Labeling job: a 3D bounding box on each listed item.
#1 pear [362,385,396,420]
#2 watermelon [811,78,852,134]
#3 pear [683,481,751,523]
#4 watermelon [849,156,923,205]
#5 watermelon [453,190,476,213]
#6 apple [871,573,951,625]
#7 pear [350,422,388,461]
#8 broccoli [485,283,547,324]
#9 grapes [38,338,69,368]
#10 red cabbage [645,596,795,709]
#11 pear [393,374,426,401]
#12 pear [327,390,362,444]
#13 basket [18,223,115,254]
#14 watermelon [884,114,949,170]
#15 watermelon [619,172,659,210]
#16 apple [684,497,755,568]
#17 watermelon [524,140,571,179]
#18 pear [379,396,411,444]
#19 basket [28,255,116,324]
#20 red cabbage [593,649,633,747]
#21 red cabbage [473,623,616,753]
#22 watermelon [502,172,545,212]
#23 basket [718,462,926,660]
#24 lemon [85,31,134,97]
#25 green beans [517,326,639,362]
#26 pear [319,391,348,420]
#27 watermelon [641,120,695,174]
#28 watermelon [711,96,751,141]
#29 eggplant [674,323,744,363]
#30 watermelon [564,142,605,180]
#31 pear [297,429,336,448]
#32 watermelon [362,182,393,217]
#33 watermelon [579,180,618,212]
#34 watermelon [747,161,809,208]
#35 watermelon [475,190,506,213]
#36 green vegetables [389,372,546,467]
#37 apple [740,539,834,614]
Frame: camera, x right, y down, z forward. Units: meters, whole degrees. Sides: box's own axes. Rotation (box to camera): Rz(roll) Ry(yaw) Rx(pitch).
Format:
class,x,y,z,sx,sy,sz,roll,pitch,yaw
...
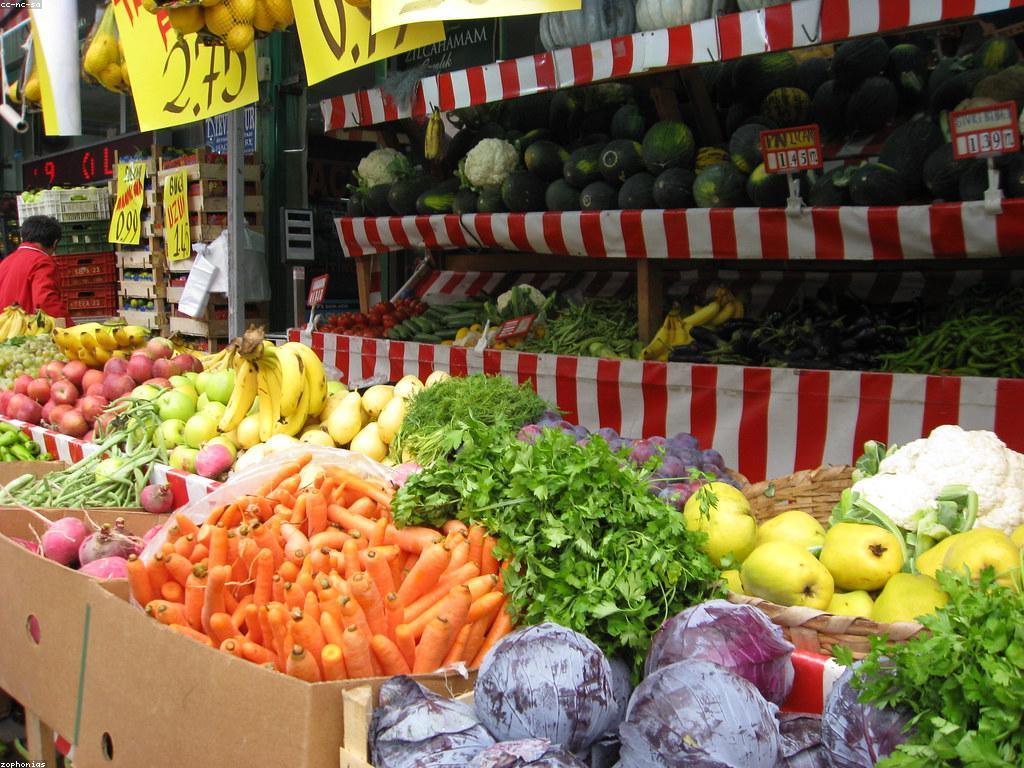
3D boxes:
class,x,y,z,sx,sy,sz,roll,pitch,yaw
pear,-0.625,0.085,4.000,0.092,0.108,0.156,-9,8,15
watermelon,1.795,-1.589,4.863,0.250,0.278,0.283,12,32,24
pear,0.637,0.354,2.629,0.150,0.150,0.130,6,14,15
watermelon,1.787,-0.932,4.095,0.318,0.209,0.186,-1,1,-32
watermelon,-0.318,-1.174,5.568,0.108,0.130,0.163,-3,36,34
apple,1.087,0.594,2.305,0.176,0.118,0.213,-3,4,0
pear,-0.626,0.272,3.853,0.135,0.235,0.154,11,-10,18
broccoli,0.028,-0.532,5.816,0.295,0.114,0.316,-36,33,12
grapes,-2.896,-0.189,5.371,0.096,0.083,0.142,10,33,-13
red cabbage,0.556,0.714,2.251,0.331,0.208,0.210,-10,16,-40
pear,-0.478,0.015,3.938,0.099,0.070,0.113,2,6,11
pear,-0.768,0.167,4.023,0.111,0.265,0.122,18,-19,4
basket,-4.425,-1.451,8.495,0.546,0.425,0.599,-2,6,-20
watermelon,1.952,-1.142,4.181,0.299,0.190,0.194,-36,-9,-17
watermelon,0.681,-1.041,4.720,0.208,0.166,0.150,-45,26,-21
apple,0.641,0.403,2.680,0.218,0.208,0.217,-11,14,-23
watermelon,0.217,-1.346,5.235,0.227,0.212,0.182,15,-4,-17
pear,-0.512,0.163,3.784,0.106,0.225,0.112,18,-4,24
basket,-4.937,-1.165,9.888,0.918,1.135,0.678,9,14,32
red cabbage,0.285,0.875,2.379,0.116,0.091,0.155,-38,18,17
red cabbage,0.088,0.891,2.382,0.347,0.421,0.427,-2,-8,10
watermelon,0.081,-1.146,5.270,0.168,0.218,0.257,6,-18,1
basket,1.022,0.568,2.829,0.438,0.189,0.444,3,18,45
lemon,-2.733,-2.151,5.848,0.224,0.403,0.445,-8,-1,-25
green beans,0.440,-0.227,5.170,0.523,0.053,0.177,10,33,45
pear,-0.872,0.105,4.192,0.097,0.157,0.083,20,-5,15
watermelon,0.888,-1.323,4.835,0.277,0.347,0.420,2,32,17
watermelon,1.319,-1.572,5.093,0.169,0.211,0.191,2,11,19
eggplant,1.080,-0.199,4.641,0.233,0.083,0.261,-11,30,39
watermelon,0.428,-1.278,4.969,0.243,0.155,0.137,-40,50,-24
pear,-0.902,0.238,3.924,0.102,0.133,0.151,9,-1,21
watermelon,-0.943,-1.281,6.017,0.198,0.189,0.180,8,35,1
watermelon,0.492,-1.053,4.837,0.173,0.172,0.144,-6,2,-10
watermelon,1.342,-0.971,4.300,0.210,0.268,0.238,4,-15,15
watermelon,-0.119,-1.140,5.381,0.114,0.148,0.173,1,-18,17
green vegetables,-0.148,0.101,3.271,0.593,0.386,0.475,-4,11,-26
apple,0.785,0.519,2.434,0.206,0.199,0.161,15,3,30
